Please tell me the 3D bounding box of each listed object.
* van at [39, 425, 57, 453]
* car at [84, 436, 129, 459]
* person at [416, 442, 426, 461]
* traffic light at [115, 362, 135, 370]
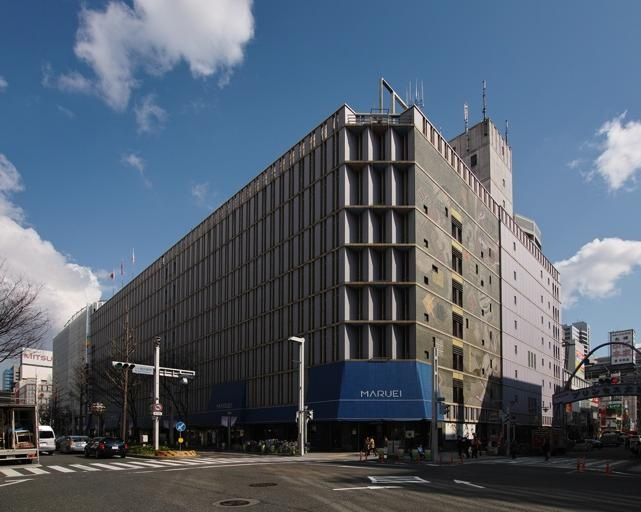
[{"bbox_3d":[-23.284,15.681,58.581,1.320,2.587,2.234,9,-22,-24],"label":"van"},{"bbox_3d":[-16.350,14.584,52.441,3.517,1.782,2.066,-18,-28,37],"label":"car"},{"bbox_3d":[7.445,14.755,50.954,0.527,1.235,2.457,-2,-23,7],"label":"person"},{"bbox_3d":[-15.031,8.427,52.615,0.915,0.347,0.878,-11,-19,43],"label":"traffic light"}]
